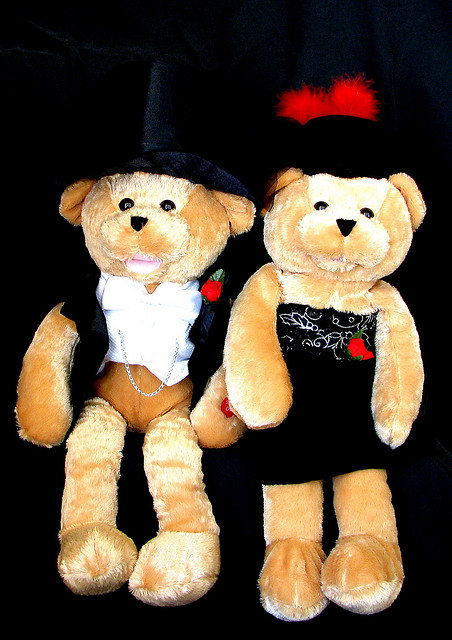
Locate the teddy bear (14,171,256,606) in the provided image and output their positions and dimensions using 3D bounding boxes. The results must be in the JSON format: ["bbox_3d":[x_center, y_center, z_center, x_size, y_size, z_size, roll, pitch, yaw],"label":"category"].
[{"bbox_3d":[-0.171,0.079,1.582,0.593,0.378,0.902,1,83,12],"label":"teddy bear"}]

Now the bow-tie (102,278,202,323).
[{"bbox_3d":[-0.155,-0.075,1.562,0.214,0.081,0.046,-5,79,-12],"label":"bow-tie"}]

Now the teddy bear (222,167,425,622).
[{"bbox_3d":[0.202,0.135,1.520,0.470,0.414,0.895,4,92,-16],"label":"teddy bear"}]
